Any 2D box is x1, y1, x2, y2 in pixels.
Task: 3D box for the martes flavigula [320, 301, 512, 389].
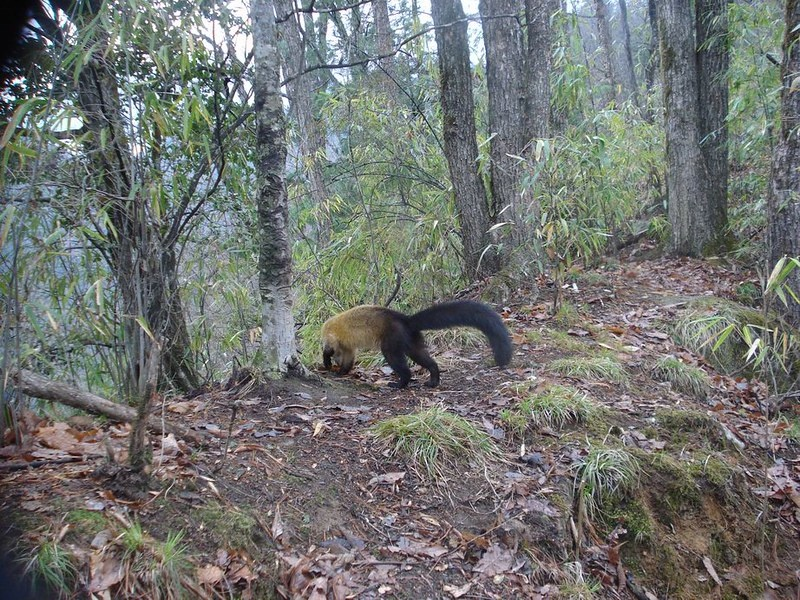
[{"bbox_3d":[0.038,0.430,5.722,2.133,0.969,0.527,5,17,20],"label":"martes flavigula"}]
